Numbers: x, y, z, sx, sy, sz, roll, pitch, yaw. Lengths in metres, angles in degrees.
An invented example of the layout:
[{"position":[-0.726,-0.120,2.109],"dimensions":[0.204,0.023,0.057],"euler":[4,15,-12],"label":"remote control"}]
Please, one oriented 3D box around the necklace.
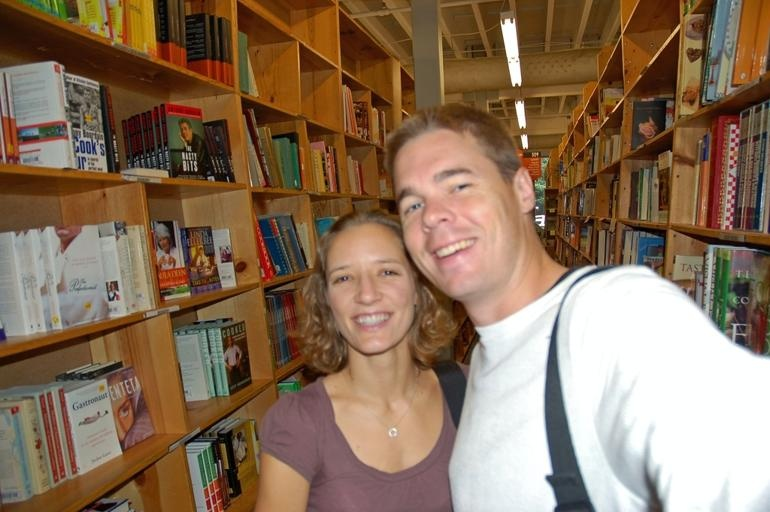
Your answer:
[{"position":[-0.022,0.661,2.458],"dimensions":[0.312,0.304,0.095],"euler":[0,-7,-18],"label":"necklace"}]
